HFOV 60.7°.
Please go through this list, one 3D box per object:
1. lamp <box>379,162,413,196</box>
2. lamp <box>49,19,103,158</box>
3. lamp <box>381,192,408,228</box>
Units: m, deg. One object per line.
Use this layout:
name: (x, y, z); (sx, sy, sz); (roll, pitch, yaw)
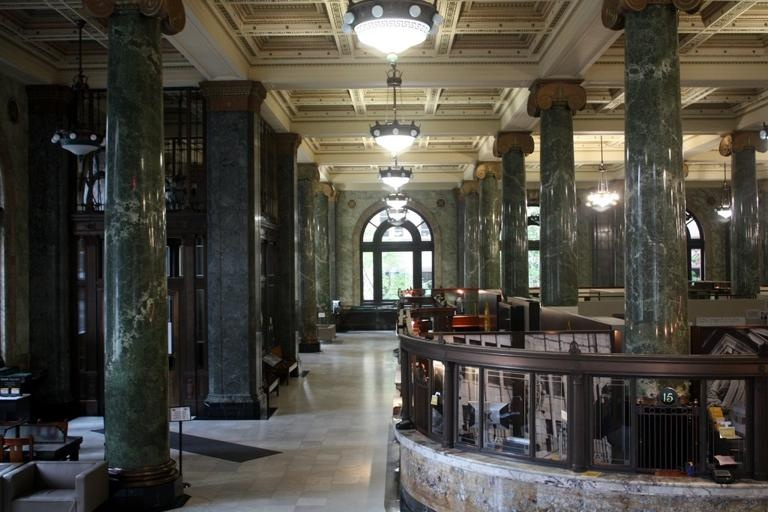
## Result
lamp: (0.269, -1.996, 16.444); (0.822, 0.576, 0.827); (-10, 10, -18)
lamp: (-5.332, -2.983, 11.497); (0.993, 2.277, 0.993); (3, 10, 0)
lamp: (0.354, -1.539, 21.995); (0.839, 1.149, 0.638); (1, 5, 1)
